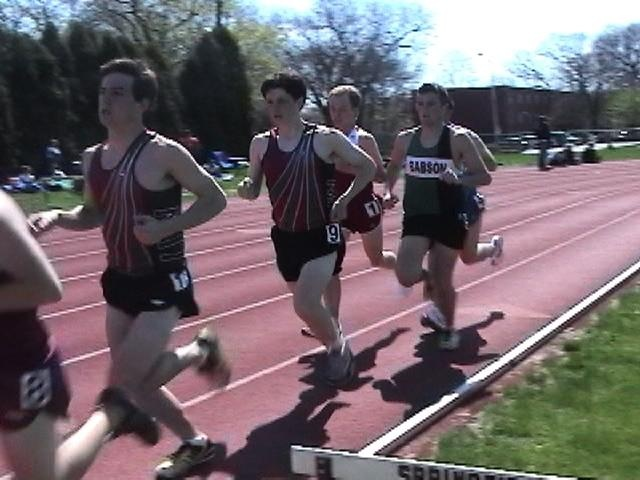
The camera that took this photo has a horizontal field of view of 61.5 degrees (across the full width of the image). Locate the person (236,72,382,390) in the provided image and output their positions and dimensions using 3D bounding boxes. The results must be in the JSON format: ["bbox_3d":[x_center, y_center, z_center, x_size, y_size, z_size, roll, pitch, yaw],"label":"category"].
[{"bbox_3d":[-0.060,-0.055,4.030,0.960,2.332,0.585,-3,8,-2],"label":"person"}]

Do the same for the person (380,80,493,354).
[{"bbox_3d":[1.023,-0.192,4.822,0.883,2.357,0.875,-2,8,6],"label":"person"}]

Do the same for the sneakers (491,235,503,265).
[{"bbox_3d":[2.206,0.128,6.753,0.116,0.343,0.247,0,12,13],"label":"sneakers"}]

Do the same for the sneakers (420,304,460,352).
[{"bbox_3d":[1.087,0.780,4.935,0.292,0.404,0.168,-37,4,15],"label":"sneakers"}]
